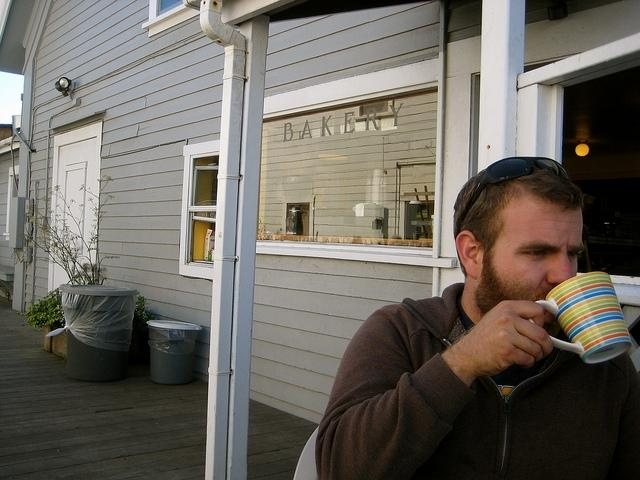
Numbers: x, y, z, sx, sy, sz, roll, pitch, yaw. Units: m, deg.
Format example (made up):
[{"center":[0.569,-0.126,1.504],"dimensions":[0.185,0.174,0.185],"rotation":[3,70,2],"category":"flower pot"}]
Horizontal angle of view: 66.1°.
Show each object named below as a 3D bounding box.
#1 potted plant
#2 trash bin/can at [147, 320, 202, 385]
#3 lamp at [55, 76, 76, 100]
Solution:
[{"center":[-3.715,1.100,7.018],"dimensions":[0.555,0.716,0.720],"rotation":[-19,1,40],"category":"potted plant"},{"center":[-1.668,1.309,5.799],"dimensions":[0.698,0.629,0.674],"rotation":[-2,-4,22],"category":"trash bin/can"},{"center":[-4.486,-2.639,8.611],"dimensions":[0.247,0.387,0.651],"rotation":[3,0,-39],"category":"lamp"}]
